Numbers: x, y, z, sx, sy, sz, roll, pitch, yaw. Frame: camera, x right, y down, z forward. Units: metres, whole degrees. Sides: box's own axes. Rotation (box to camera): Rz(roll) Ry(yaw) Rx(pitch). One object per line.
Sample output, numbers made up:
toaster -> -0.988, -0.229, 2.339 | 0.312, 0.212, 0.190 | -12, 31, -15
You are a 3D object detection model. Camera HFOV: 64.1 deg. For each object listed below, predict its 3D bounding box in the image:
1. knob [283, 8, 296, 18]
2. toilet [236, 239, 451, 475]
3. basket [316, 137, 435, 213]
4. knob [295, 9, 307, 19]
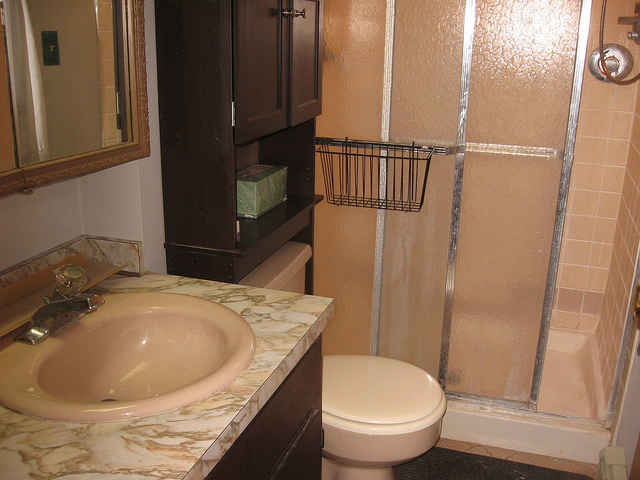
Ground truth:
knob -> -0.096, -0.721, 1.610 | 0.015, 0.029, 0.059 | 16, 20, 39
toilet -> 0.134, 0.404, 2.041 | 0.825, 0.984, 0.665 | 6, 25, 16
basket -> 0.256, -0.285, 2.229 | 0.495, 0.269, 0.188 | 4, -7, 0
knob -> -0.055, -0.744, 1.671 | 0.048, 0.032, 0.028 | -1, -28, 1
